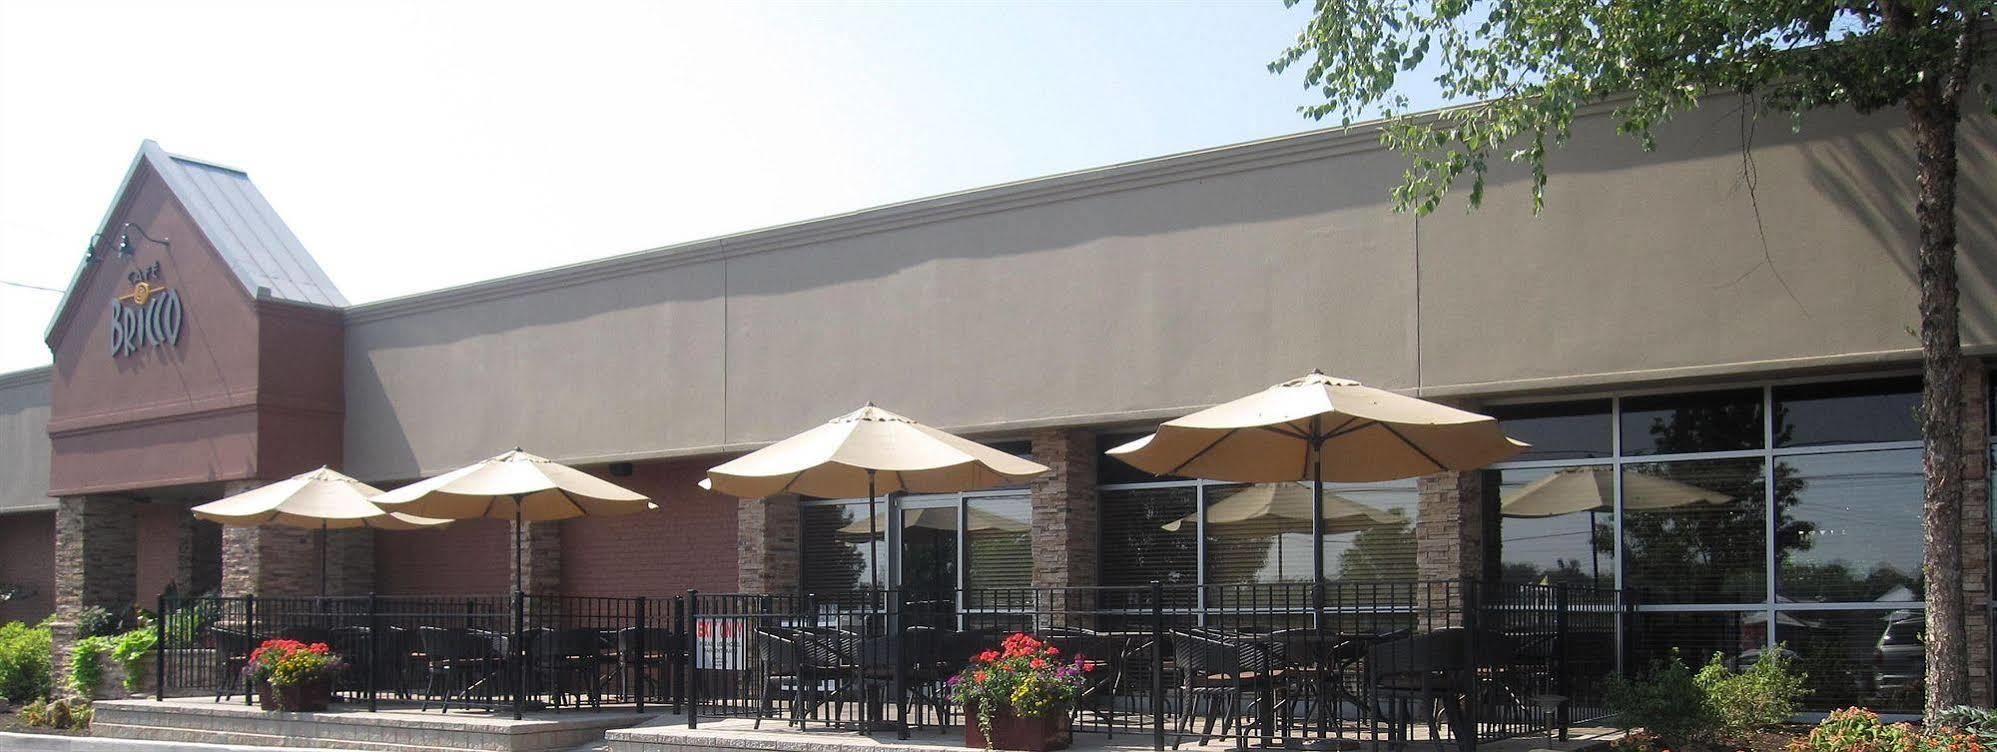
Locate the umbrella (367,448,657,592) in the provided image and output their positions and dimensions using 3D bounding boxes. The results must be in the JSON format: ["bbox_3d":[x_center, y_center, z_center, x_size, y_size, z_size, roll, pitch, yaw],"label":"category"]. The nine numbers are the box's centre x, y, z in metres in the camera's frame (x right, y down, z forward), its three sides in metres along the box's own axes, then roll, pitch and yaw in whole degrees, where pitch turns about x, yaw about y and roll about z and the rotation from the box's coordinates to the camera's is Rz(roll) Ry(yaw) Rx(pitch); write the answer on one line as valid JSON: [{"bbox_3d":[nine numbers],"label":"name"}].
[{"bbox_3d":[-12.911,3.454,51.437,6.262,3.050,5.143,0,1,-2],"label":"umbrella"}]
